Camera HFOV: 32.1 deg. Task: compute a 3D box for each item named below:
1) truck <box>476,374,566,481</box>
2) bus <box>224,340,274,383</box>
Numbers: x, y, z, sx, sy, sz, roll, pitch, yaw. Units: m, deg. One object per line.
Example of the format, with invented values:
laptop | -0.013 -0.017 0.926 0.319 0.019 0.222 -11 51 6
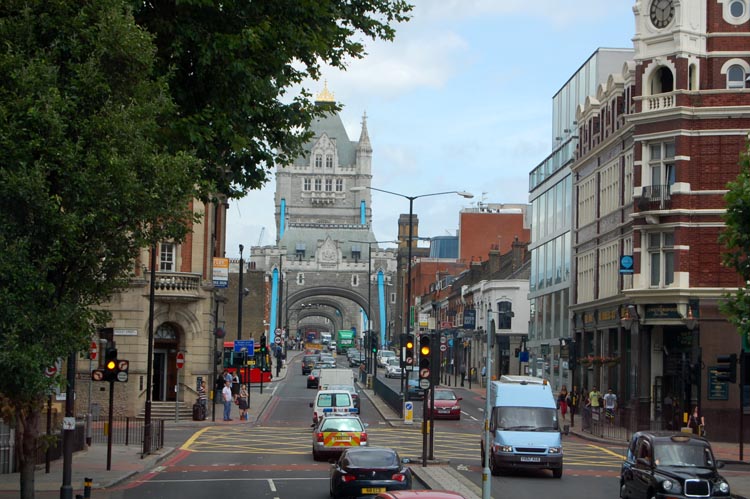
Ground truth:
truck | 5.639 6.808 49.729 2.959 3.823 2.933 0 -10 6
bus | -8.640 7.936 91.255 5.649 2.887 2.302 -1 -2 -1
